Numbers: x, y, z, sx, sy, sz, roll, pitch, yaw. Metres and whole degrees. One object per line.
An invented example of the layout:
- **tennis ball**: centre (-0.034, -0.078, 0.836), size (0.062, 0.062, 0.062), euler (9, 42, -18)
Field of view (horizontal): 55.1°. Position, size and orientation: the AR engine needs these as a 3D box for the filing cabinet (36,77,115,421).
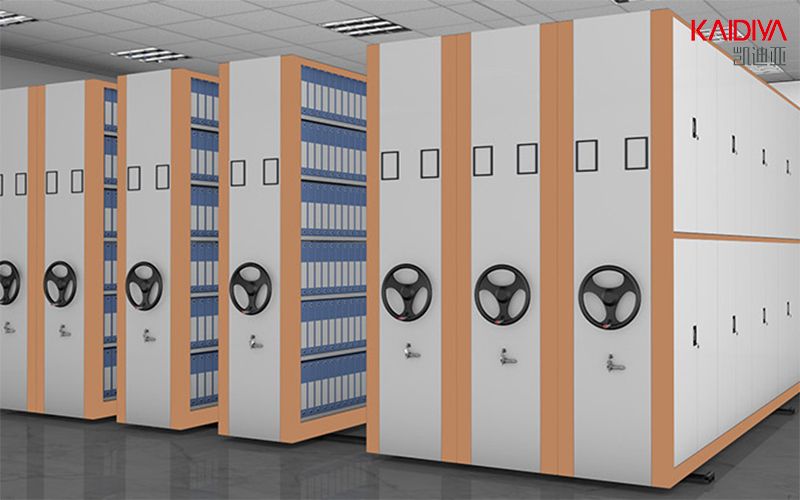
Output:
- **filing cabinet**: centre (-4.054, -0.966, 9.765), size (0.481, 2.419, 0.741), euler (12, 10, -16)
